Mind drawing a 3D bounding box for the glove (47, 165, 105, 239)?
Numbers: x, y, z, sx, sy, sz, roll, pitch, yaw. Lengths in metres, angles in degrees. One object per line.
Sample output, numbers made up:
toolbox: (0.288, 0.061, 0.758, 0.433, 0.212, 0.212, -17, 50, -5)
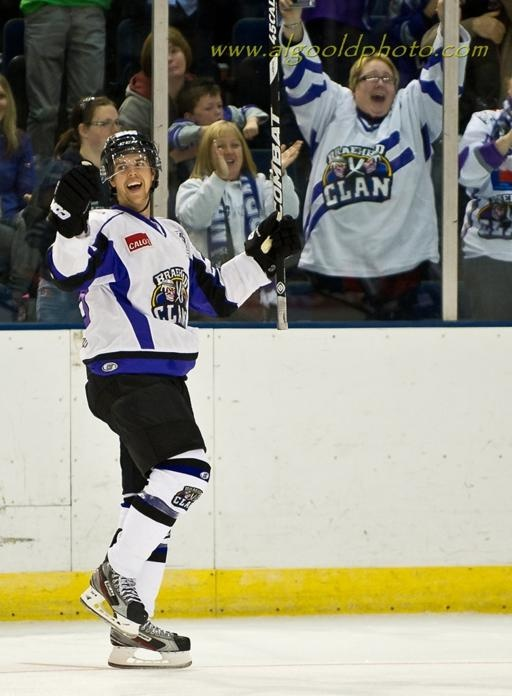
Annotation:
glove: (-0.518, -0.439, 3.346, 0.153, 0.208, 0.079, 25, 13, -17)

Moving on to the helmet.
helmet: (-0.390, -0.598, 3.634, 0.151, 0.180, 0.169, 0, 64, -18)

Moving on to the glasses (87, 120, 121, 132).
glasses: (-0.578, -0.845, 4.371, 0.065, 0.022, 0.065, 0, -2, -39)

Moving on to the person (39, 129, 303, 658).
person: (-0.287, 0.265, 3.631, 0.637, 1.762, 0.924, 5, 30, 11)
